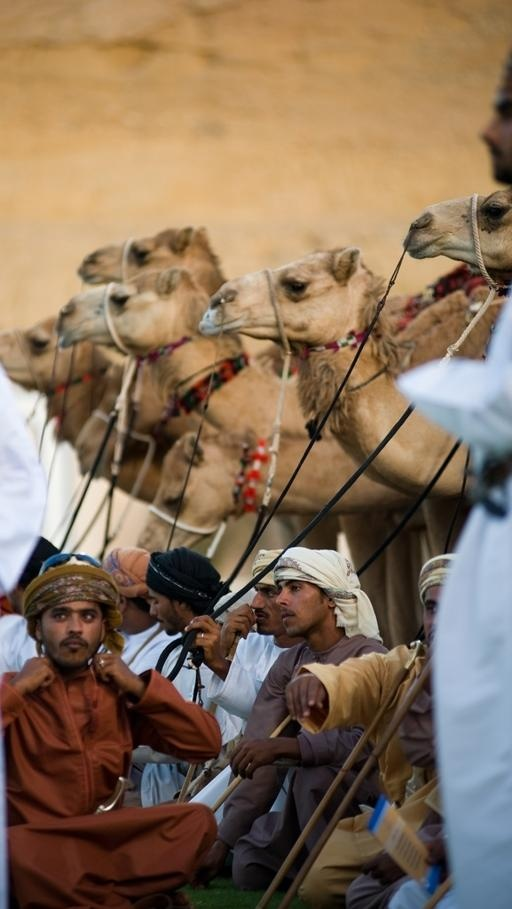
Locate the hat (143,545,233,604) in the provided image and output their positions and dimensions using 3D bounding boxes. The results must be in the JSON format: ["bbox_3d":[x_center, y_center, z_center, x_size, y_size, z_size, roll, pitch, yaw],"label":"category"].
[{"bbox_3d":[-0.284,0.486,4.969,0.319,0.147,0.221,20,-6,-19],"label":"hat"}]
